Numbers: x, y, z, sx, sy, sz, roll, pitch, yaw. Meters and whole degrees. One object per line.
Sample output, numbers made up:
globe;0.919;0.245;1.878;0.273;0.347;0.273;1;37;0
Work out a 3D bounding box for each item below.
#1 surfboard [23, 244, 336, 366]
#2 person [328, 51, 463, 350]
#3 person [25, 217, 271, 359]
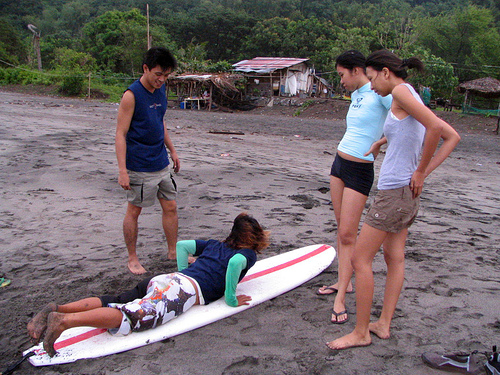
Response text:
surfboard;-0.408;1.056;3.843;2.985;0.400;0.618;-7;15;-33
person;1.235;0.089;3.476;0.762;2.345;1.156;7;14;23
person;-0.597;0.652;3.828;2.487;0.880;0.830;-6;22;-38
